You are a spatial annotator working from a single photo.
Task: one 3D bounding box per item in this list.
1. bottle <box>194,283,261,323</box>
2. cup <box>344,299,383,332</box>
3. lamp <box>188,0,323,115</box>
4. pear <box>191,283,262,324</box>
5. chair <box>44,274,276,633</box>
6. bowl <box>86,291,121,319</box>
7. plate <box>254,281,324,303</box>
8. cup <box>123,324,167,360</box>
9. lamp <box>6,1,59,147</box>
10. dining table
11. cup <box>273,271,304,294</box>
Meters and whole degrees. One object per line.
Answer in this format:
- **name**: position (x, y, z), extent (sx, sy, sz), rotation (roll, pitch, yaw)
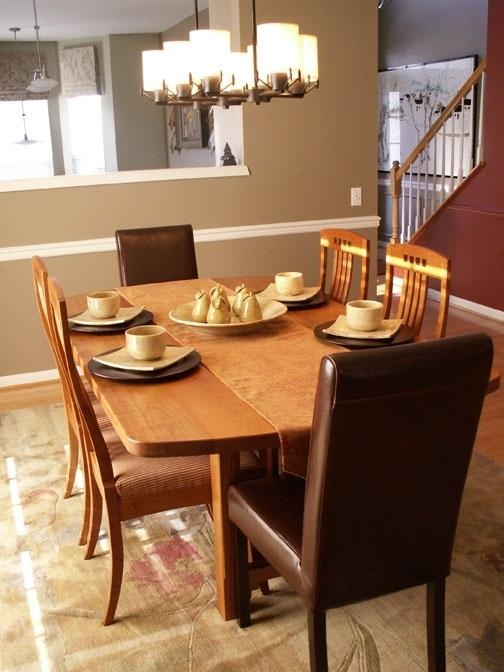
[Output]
- **bottle**: position (-0.092, -0.120, 1.678), extent (0.126, 0.079, 0.181), rotation (-10, 14, -29)
- **cup**: position (0.313, -0.067, 1.544), extent (0.095, 0.075, 0.098), rotation (-2, 15, 0)
- **lamp**: position (0.009, -0.891, 1.719), extent (0.415, 0.302, 0.401), rotation (-2, 11, 1)
- **pear**: position (-0.091, -0.116, 1.682), extent (0.131, 0.081, 0.185), rotation (-11, 14, -32)
- **chair**: position (-0.268, 0.402, 1.526), extent (0.422, 0.636, 0.421), rotation (-1, -14, -27)
- **bowl**: position (-0.512, -0.119, 1.828), extent (0.098, 0.078, 0.108), rotation (-2, 13, 1)
- **plate**: position (0.130, -0.170, 2.071), extent (0.144, 0.023, 0.162), rotation (4, 19, 31)
- **cup**: position (-0.277, 0.016, 1.380), extent (0.087, 0.072, 0.099), rotation (-2, 9, -1)
- **lamp**: position (-2.514, -3.010, 6.044), extent (0.528, 1.321, 2.178), rotation (-6, 11, -19)
- **dining table**: position (0.007, 0.305, 1.338), extent (0.564, 0.472, 0.956), rotation (-8, 20, -20)
- **cup**: position (0.147, -0.205, 2.071), extent (0.093, 0.070, 0.092), rotation (-2, 15, 1)
